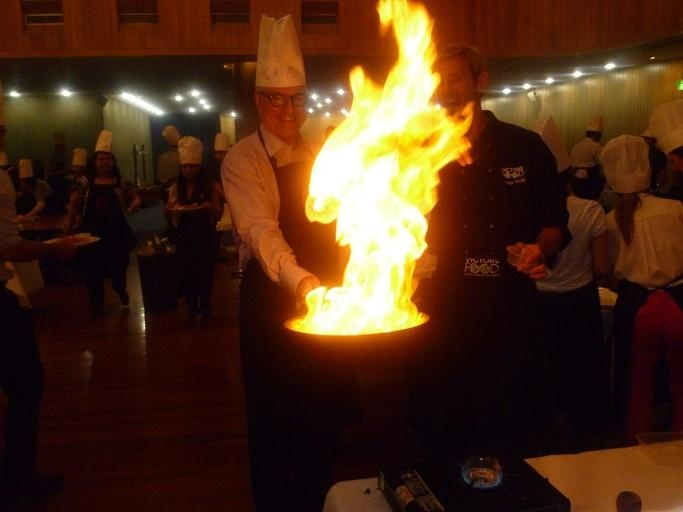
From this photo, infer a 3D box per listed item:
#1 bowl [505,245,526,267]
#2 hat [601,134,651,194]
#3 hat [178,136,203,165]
[{"bbox_3d":[0.661,-0.008,2.371,0.057,0.078,0.153,-2,12,-3],"label":"bowl"},{"bbox_3d":[1.573,-0.524,3.466,0.229,0.309,0.341,-3,20,17],"label":"hat"},{"bbox_3d":[-1.540,-1.118,6.317,0.246,0.324,0.227,9,-17,-24],"label":"hat"}]
